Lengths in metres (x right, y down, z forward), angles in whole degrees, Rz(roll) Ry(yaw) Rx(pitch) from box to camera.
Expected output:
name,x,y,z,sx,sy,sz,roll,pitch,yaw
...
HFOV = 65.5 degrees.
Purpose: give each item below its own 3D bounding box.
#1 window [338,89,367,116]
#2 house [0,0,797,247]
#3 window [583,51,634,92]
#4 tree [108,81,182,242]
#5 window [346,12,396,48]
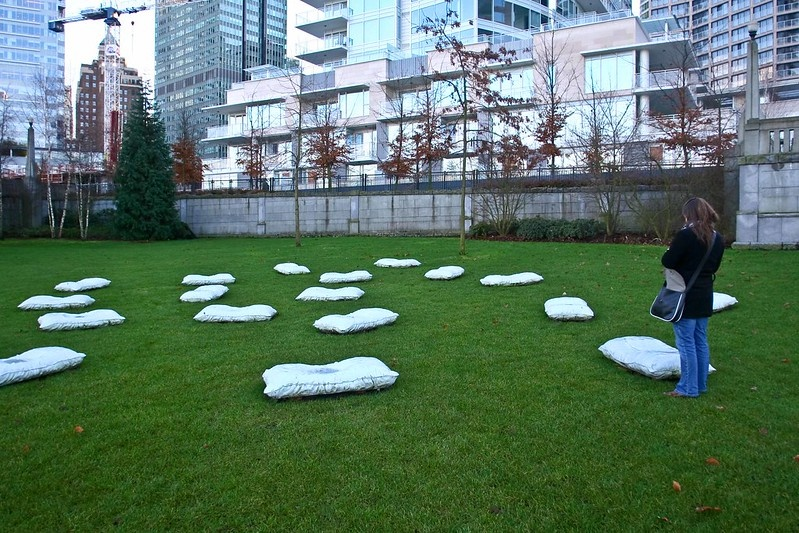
name,x,y,z,sx,sy,sz,roll,pitch,yaw
window,-4.025,-13.973,53.318,2.699,1.939,0.107,1,2,30
house,1.685,-9.757,43.314,39.083,10.710,29.064,3,8,36
window,14.440,-13.217,42.238,4.372,3.245,0.396,2,3,33
tree,-13.642,-5.254,32.606,3.234,7.860,2.608,-10,9,-42
window,-2.407,-20.790,54.662,3.985,2.253,0.210,2,5,30
